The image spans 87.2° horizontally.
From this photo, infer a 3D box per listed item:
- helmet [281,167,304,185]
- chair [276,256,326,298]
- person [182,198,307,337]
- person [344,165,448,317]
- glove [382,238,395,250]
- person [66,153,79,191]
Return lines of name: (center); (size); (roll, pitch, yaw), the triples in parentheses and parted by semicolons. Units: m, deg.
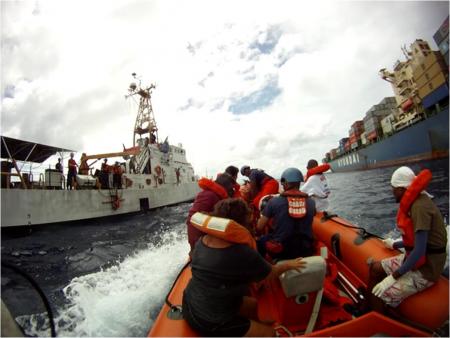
helmet: (1.013, 0.126, 3.530); (0.213, 0.251, 0.265); (1, 10, 8)
chair: (1.017, 1.292, 3.174); (0.631, 0.443, 0.466); (-3, -7, -6)
person: (0.110, 1.219, 2.932); (1.239, 1.666, 0.500); (0, 2, -17)
person: (2.323, 0.989, 3.054); (0.804, 2.020, 0.488); (3, 3, 43)
glove: (2.613, 1.209, 3.764); (0.098, 0.151, 0.068); (-40, 16, 31)
person: (-6.538, 0.118, 10.006); (0.374, 1.549, 1.295); (-1, 3, -33)
